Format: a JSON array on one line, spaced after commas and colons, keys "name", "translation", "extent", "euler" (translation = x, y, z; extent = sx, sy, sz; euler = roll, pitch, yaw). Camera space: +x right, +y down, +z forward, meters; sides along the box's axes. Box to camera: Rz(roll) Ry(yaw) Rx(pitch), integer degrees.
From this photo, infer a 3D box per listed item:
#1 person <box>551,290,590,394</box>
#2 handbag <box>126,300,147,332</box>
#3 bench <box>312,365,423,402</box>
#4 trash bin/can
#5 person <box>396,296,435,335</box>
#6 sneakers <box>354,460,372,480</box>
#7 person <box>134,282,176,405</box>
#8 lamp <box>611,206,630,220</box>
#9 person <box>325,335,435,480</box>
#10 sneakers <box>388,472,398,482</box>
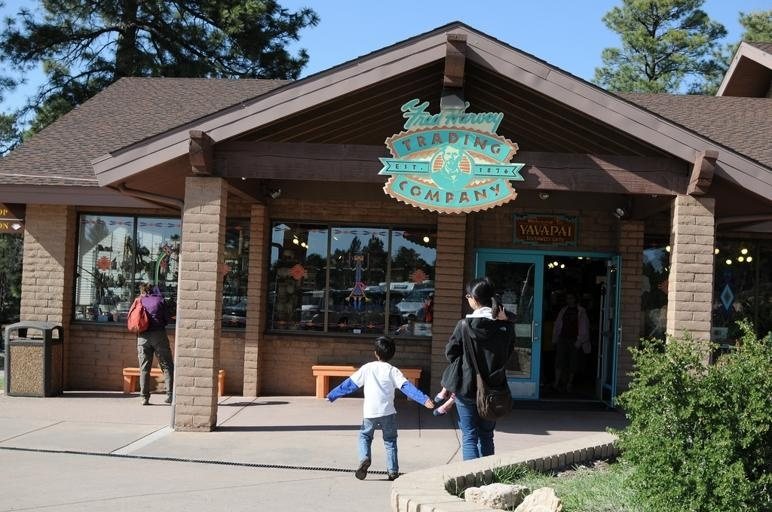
[{"name": "person", "translation": [4.003, 1.921, 19.687], "extent": [0.774, 2.160, 0.976], "euler": [-1, 10, 7]}, {"name": "handbag", "translation": [-4.700, 1.152, 17.039], "extent": [0.345, 0.676, 0.596], "euler": [9, -15, -39]}, {"name": "bench", "translation": [-0.319, 2.466, 17.714], "extent": [2.260, 0.714, 0.737], "euler": [-3, -1, 24]}, {"name": "trash bin/can", "translation": [-6.866, 2.014, 17.525], "extent": [0.955, 1.415, 0.736], "euler": [-3, 10, -4]}, {"name": "person", "translation": [0.557, 1.182, 18.074], "extent": [0.762, 0.718, 0.198], "euler": [-3, 10, -5]}, {"name": "sneakers", "translation": [-0.351, 3.106, 13.207], "extent": [0.176, 0.360, 0.167], "euler": [26, 20, -14]}, {"name": "person", "translation": [-4.353, 1.770, 16.987], "extent": [0.617, 1.959, 0.606], "euler": [-5, 10, -14]}, {"name": "lamp", "translation": [4.574, -0.822, 17.716], "extent": [0.200, 0.274, 0.116], "euler": [13, -37, 10]}, {"name": "person", "translation": [-0.151, 2.252, 13.214], "extent": [1.332, 2.048, 0.639], "euler": [-2, 10, -1]}, {"name": "sneakers", "translation": [0.092, 3.215, 13.233], "extent": [0.152, 0.136, 0.113], "euler": [1, 8, 2]}]
